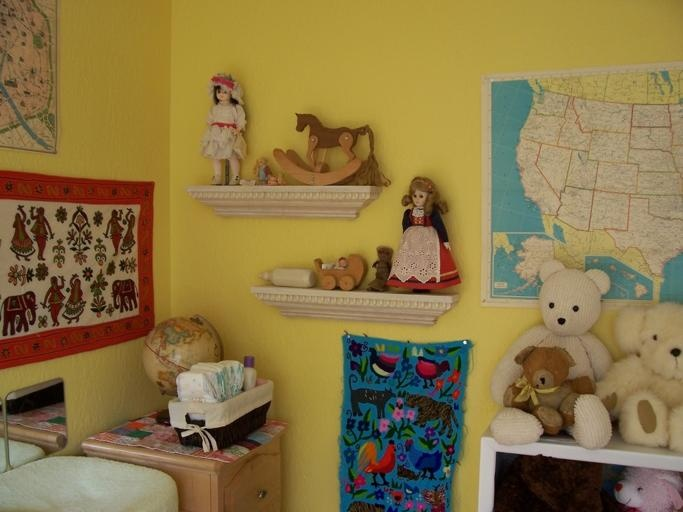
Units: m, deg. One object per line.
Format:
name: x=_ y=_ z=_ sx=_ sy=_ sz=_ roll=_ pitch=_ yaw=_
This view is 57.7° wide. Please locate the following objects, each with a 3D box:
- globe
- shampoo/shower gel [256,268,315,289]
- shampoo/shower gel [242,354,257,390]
globe: x=-0.757 y=0.461 z=3.004 sx=0.286 sy=0.559 sz=0.295 roll=7 pitch=10 yaw=24
shampoo/shower gel: x=-0.280 y=0.103 z=3.063 sx=0.281 sy=0.110 sz=0.105 roll=3 pitch=-27 yaw=17
shampoo/shower gel: x=-0.427 y=0.526 z=2.826 sx=0.072 sy=0.144 sz=0.082 roll=3 pitch=-1 yaw=19
